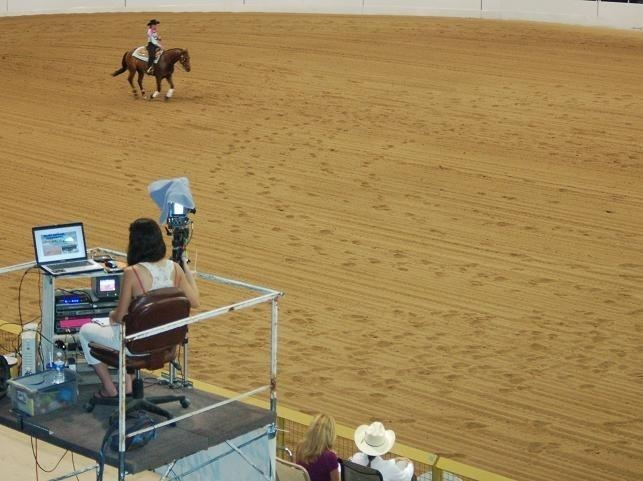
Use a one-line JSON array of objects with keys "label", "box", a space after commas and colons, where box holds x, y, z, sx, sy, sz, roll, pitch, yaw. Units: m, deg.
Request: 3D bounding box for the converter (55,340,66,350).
[{"label": "converter", "box": [-3.539, 1.411, 13.187, 0.175, 0.090, 0.034, 18, -1, -16]}]

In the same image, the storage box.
[{"label": "storage box", "box": [-3.658, 1.956, 12.654, 0.567, 0.304, 0.839, 7, 9, 44]}]

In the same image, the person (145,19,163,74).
[{"label": "person", "box": [-4.765, -5.486, 27.695, 0.394, 1.484, 0.604, 2, 13, -8]}]

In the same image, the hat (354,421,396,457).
[{"label": "hat", "box": [0.709, 2.616, 12.967, 0.591, 0.189, 0.528, 8, 36, 14]}]

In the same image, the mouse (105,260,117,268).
[{"label": "mouse", "box": [-2.924, 0.328, 13.534, 0.093, 0.050, 0.145, -3, 7, -33]}]

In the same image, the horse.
[{"label": "horse", "box": [-4.961, -4.892, 28.369, 3.192, 1.303, 0.712, 12, 12, 37]}]

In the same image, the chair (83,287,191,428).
[{"label": "chair", "box": [-2.305, 1.464, 12.481, 1.272, 1.726, 0.656, 2, 13, -7]}]
